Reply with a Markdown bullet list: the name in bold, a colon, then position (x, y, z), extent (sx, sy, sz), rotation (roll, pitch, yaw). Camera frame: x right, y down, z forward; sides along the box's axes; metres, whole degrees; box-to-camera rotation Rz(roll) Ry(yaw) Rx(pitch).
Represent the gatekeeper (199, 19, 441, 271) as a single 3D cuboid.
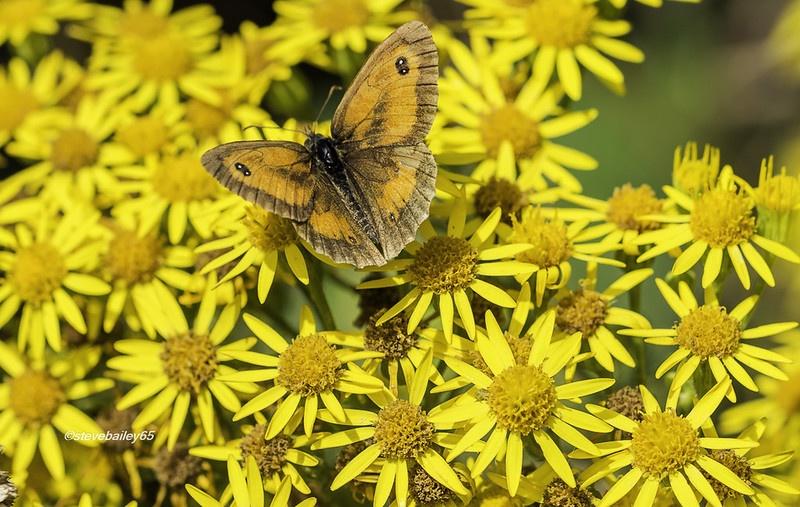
- **gatekeeper**: position (-0.156, -0.228, 2.526), extent (0.536, 0.131, 0.697), rotation (46, 43, 4)
